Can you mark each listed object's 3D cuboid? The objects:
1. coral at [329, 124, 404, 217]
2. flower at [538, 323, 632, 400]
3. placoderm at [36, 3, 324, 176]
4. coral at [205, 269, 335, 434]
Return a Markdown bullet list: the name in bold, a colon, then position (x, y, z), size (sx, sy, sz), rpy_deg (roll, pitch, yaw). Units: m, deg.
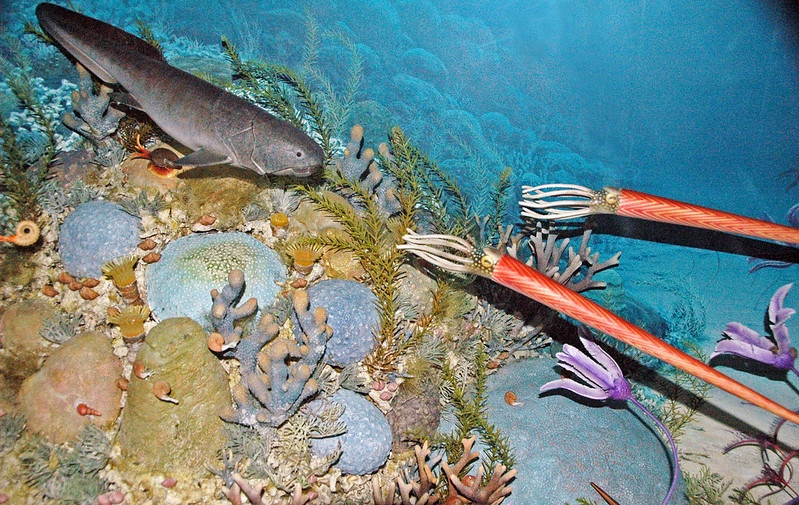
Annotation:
- **coral**: position (-0.224, -0.756, 5.263), size (0.716, 0.617, 0.449), rpy_deg (28, 51, 15)
- **flower**: position (1.510, 0.986, 4.768), size (0.734, 0.596, 0.467), rpy_deg (11, 49, 1)
- **placoderm**: position (-1.721, -1.256, 4.705), size (2.452, 0.551, 0.671), rpy_deg (32, 53, 17)
- **coral**: position (-0.966, 0.682, 4.666), size (0.746, 0.831, 1.316), rpy_deg (-1, 90, 6)
